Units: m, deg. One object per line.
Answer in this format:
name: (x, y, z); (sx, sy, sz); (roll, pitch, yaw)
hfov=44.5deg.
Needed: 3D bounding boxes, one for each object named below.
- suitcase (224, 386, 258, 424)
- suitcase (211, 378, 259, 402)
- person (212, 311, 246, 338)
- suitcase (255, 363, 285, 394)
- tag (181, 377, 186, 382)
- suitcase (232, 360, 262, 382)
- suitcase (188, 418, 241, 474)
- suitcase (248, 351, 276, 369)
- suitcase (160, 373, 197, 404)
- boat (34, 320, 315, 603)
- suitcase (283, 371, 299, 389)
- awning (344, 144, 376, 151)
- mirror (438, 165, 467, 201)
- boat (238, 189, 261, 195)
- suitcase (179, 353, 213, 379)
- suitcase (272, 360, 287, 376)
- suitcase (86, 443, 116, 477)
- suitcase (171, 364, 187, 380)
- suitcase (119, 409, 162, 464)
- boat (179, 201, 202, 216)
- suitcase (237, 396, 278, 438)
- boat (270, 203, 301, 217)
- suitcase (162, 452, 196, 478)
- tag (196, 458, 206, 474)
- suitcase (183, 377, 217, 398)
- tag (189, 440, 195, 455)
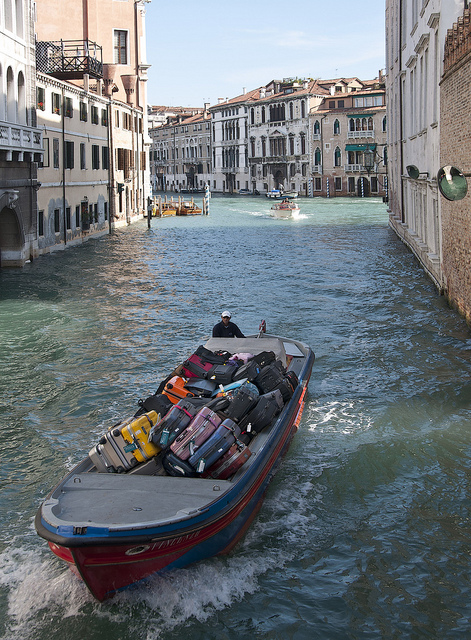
suitcase: (0.060, 1.101, 7.513); (0.489, 0.267, 0.159); (-48, 4, -24)
suitcase: (-0.048, 0.984, 8.266); (0.478, 0.200, 0.343); (-26, 2, -10)
person: (-0.131, 0.113, 14.079); (0.645, 0.866, 0.274); (-3, 0, -11)
suitcase: (0.509, 0.872, 8.463); (0.180, 0.222, 0.331); (-36, -1, 15)
tag: (-0.785, 0.903, 8.779); (0.077, 0.022, 0.081); (-4, 6, -22)
suitcase: (0.189, 0.776, 8.831); (0.272, 0.141, 0.358); (-34, 11, 10)
suitcase: (-0.269, 1.390, 6.411); (0.734, 0.269, 0.490); (-45, 10, -20)
suitcase: (0.504, 0.613, 9.405); (0.318, 0.126, 0.242); (-22, 34, -24)
suitcase: (-0.781, 0.954, 8.147); (0.329, 0.118, 0.331); (18, 27, -22)
boat: (-0.356, 1.410, 6.328); (1.216, 0.780, 3.812); (8, 18, 16)
suitcase: (0.844, 0.918, 8.789); (0.153, 0.269, 0.189); (-36, 18, -15)
awning: (18.201, -26.243, 88.041); (3.550, 1.067, 0.372); (9, 16, 43)
mirror: (3.056, -1.941, 8.165); (0.330, 0.467, 0.455); (-4, 12, -13)
boat: (2.681, -24.652, 111.163); (1.370, 1.088, 5.022); (-9, 14, -36)
suitcase: (-0.654, 0.778, 9.445); (0.393, 0.369, 0.650); (19, -6, 5)
suitcase: (0.690, 0.761, 9.230); (0.056, 0.205, 0.207); (-35, -24, 24)
suitcase: (-1.428, 1.492, 6.199); (0.235, 0.333, 0.109); (-18, 18, 27)
suitcase: (-0.897, 0.813, 9.314); (0.186, 0.216, 0.242); (-4, -7, 2)
suitcase: (-1.014, 1.236, 6.185); (0.459, 0.460, 0.140); (-39, 1, -27)
boat: (-5.410, -13.010, 68.435); (1.749, 1.280, 3.592); (-4, 19, -8)
suitcase: (0.306, 1.262, 7.440); (0.501, 0.349, 0.188); (-41, 12, -21)
boat: (5.289, -11.593, 61.143); (2.213, 1.351, 3.847); (-3, 11, 0)
suitcase: (-0.587, 1.523, 6.026); (0.086, 0.286, 0.221); (-51, 16, 9)
tag: (-0.352, 1.518, 6.028); (0.035, 0.130, 0.090); (12, -8, -32)
suitcase: (-0.524, 0.999, 8.654); (0.340, 0.101, 0.250); (17, 36, 2)
tag: (-0.453, 1.349, 6.109); (0.036, 0.159, 0.045); (-3, -18, 4)
